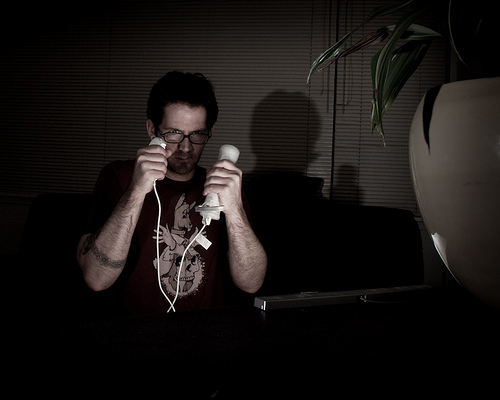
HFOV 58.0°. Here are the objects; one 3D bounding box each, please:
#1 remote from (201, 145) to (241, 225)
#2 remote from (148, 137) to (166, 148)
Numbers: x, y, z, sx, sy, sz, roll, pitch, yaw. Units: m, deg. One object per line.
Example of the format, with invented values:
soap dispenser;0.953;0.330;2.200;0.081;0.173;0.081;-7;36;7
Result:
remote;-0.076;-0.036;1.312;0.089;0.091;0.265;6;54;8
remote;-0.281;-0.172;1.362;0.044;0.028;0.044;-2;14;-14
